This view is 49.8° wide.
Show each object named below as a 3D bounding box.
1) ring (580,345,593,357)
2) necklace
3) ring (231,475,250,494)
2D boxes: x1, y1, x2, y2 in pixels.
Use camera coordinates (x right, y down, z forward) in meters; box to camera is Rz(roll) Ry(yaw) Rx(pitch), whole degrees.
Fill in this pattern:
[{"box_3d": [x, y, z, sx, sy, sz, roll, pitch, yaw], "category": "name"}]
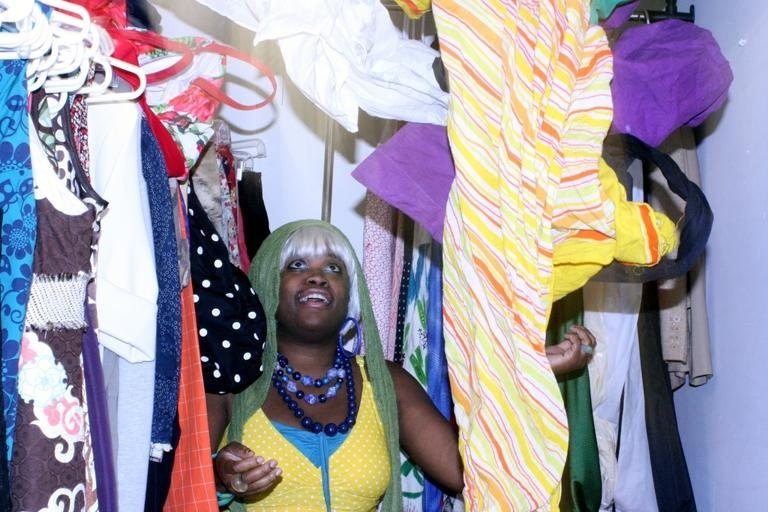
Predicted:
[{"box_3d": [0.465, 0.216, 1.882, 0.018, 0.028, 0.048, -6, -7, 37], "category": "ring"}, {"box_3d": [-0.168, 0.333, 2.017, 0.205, 0.204, 0.123, -1, -5, -12], "category": "necklace"}, {"box_3d": [-0.301, 0.482, 1.731, 0.042, 0.036, 0.014, -6, -6, 31], "category": "ring"}]
